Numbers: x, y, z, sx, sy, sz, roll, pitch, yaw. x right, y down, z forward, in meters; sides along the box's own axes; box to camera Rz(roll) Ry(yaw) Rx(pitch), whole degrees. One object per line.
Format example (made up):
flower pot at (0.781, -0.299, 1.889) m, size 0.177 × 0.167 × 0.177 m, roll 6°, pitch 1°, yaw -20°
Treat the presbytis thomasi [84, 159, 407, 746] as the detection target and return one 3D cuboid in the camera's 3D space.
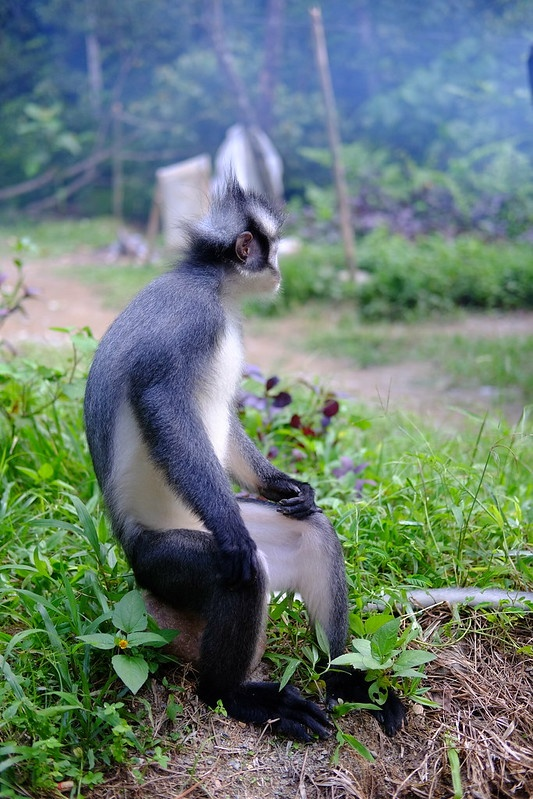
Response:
presbytis thomasi at (-0.131, 0.123, 2.058) m, size 0.680 × 1.290 × 0.845 m, roll -1°, pitch 18°, yaw -12°
